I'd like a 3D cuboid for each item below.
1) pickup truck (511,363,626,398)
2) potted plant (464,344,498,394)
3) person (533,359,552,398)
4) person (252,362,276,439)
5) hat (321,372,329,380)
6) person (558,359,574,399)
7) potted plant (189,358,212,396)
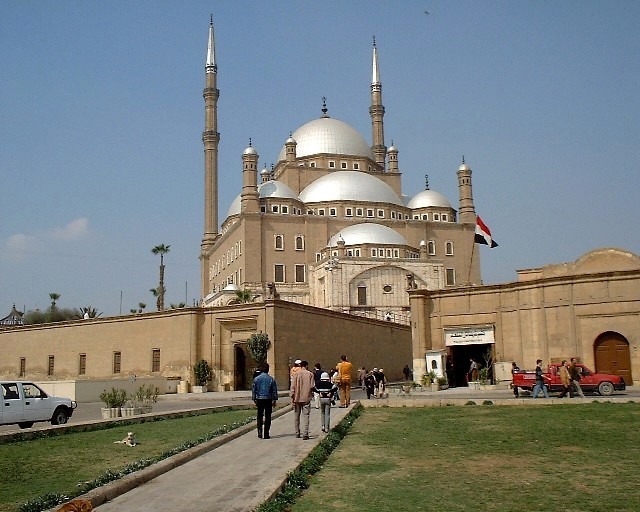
[{"bbox_3d":[8.247,4.174,25.110,3.492,1.209,1.544,-3,-8,13],"label":"pickup truck"},{"bbox_3d":[7.010,4.777,32.711,1.475,2.872,1.504,0,-4,-10],"label":"potted plant"},{"bbox_3d":[7.040,3.939,24.311,0.487,1.269,2.214,-5,-12,15],"label":"person"},{"bbox_3d":[-1.220,3.154,16.447,0.505,1.617,1.221,-1,-12,-5],"label":"person"},{"bbox_3d":[0.119,2.888,18.045,0.160,0.118,0.222,-1,-20,-6],"label":"hat"},{"bbox_3d":[7.799,3.912,23.995,0.356,1.187,1.135,-6,-12,17],"label":"person"},{"bbox_3d":[-5.717,5.731,36.141,0.824,1.527,0.896,-4,-12,9],"label":"potted plant"}]
